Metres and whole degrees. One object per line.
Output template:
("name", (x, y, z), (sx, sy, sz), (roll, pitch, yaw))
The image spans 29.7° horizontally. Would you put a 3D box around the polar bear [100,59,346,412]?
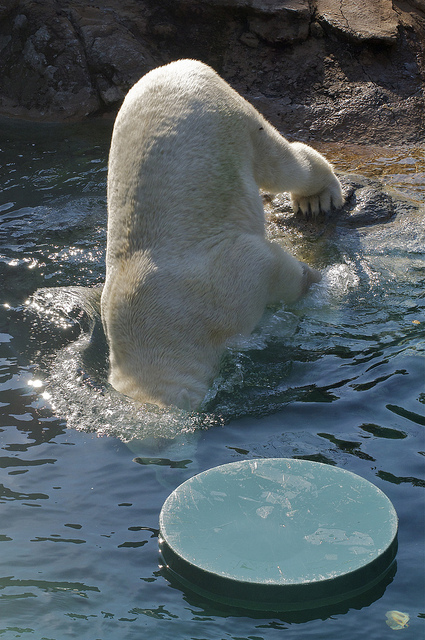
("polar bear", (-0.241, -0.353, 4.252), (1.478, 1.827, 0.953), (12, -16, -41))
